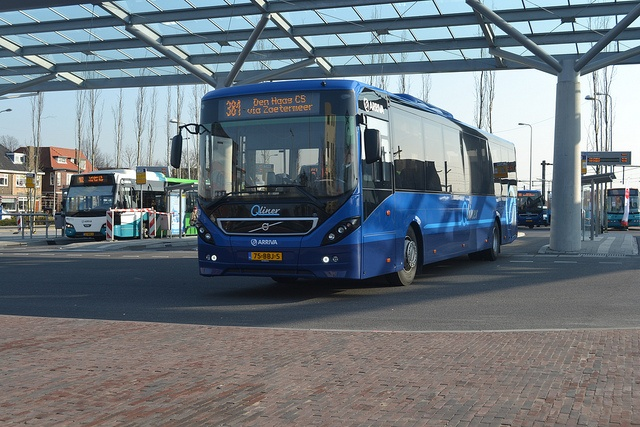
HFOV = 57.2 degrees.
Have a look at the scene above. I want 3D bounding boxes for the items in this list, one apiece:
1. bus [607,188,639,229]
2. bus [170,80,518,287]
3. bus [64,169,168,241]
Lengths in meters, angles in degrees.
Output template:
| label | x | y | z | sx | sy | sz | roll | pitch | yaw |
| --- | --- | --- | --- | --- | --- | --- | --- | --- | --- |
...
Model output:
| label | x | y | z | sx | sy | sz | roll | pitch | yaw |
| --- | --- | --- | --- | --- | --- | --- | --- | --- | --- |
| bus | 25.659 | -0.592 | 49.999 | 2.927 | 3.852 | 8.778 | -1 | -4 | 31 |
| bus | 1.131 | -0.720 | 15.434 | 3.646 | 3.967 | 11.429 | -1 | -2 | 30 |
| bus | -11.274 | -0.495 | 36.246 | 3.349 | 4.333 | 9.729 | -2 | -1 | 13 |
